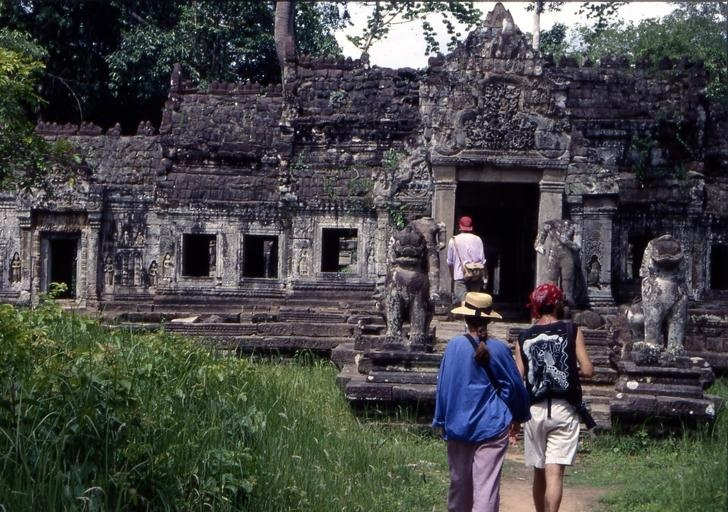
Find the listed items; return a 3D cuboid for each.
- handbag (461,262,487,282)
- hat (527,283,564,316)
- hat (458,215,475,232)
[{"bbox_3d":[1.935,0.279,18.921,0.392,0.441,0.638,3,13,5],"label":"handbag"},{"bbox_3d":[2.431,0.560,14.453,0.362,0.478,0.480,2,9,31],"label":"hat"},{"bbox_3d":[1.874,-0.572,19.610,0.344,0.268,0.570,4,13,-2],"label":"hat"}]
